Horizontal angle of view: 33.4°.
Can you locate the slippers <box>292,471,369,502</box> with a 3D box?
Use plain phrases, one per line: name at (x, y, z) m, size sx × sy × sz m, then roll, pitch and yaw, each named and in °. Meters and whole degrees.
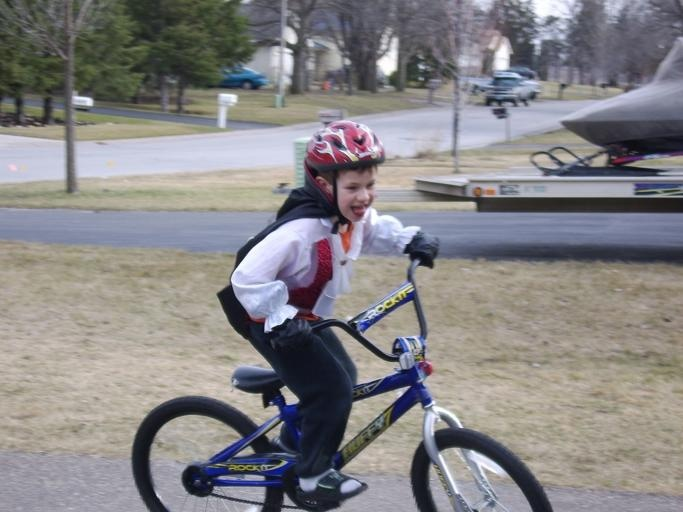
slippers at (-0.091, 2.321, 11.333) m, size 0.696 × 0.177 × 0.311 m, roll -2°, pitch 4°, yaw 12°
